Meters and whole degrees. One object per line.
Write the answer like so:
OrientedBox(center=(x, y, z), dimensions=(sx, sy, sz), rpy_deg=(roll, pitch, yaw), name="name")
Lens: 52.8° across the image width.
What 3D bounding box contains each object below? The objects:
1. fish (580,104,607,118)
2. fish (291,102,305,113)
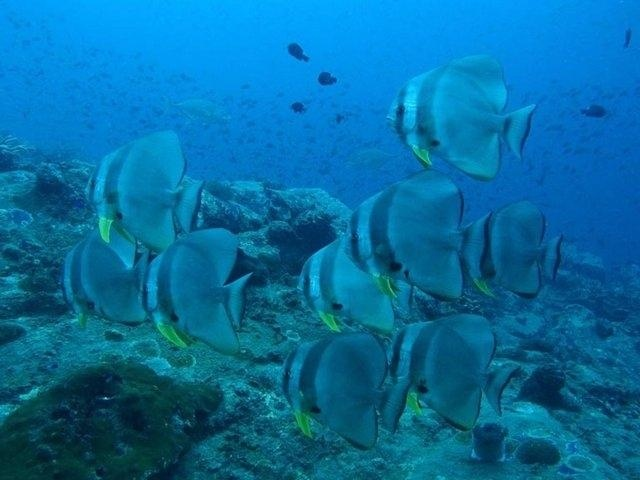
OrientedBox(center=(7.440, -3.481, 17.464), dimensions=(0.637, 0.323, 0.457), rpy_deg=(15, 18, 25), name="fish")
OrientedBox(center=(-0.599, -3.641, 17.775), dimensions=(0.404, 0.284, 0.400), rpy_deg=(6, 16, -3), name="fish")
